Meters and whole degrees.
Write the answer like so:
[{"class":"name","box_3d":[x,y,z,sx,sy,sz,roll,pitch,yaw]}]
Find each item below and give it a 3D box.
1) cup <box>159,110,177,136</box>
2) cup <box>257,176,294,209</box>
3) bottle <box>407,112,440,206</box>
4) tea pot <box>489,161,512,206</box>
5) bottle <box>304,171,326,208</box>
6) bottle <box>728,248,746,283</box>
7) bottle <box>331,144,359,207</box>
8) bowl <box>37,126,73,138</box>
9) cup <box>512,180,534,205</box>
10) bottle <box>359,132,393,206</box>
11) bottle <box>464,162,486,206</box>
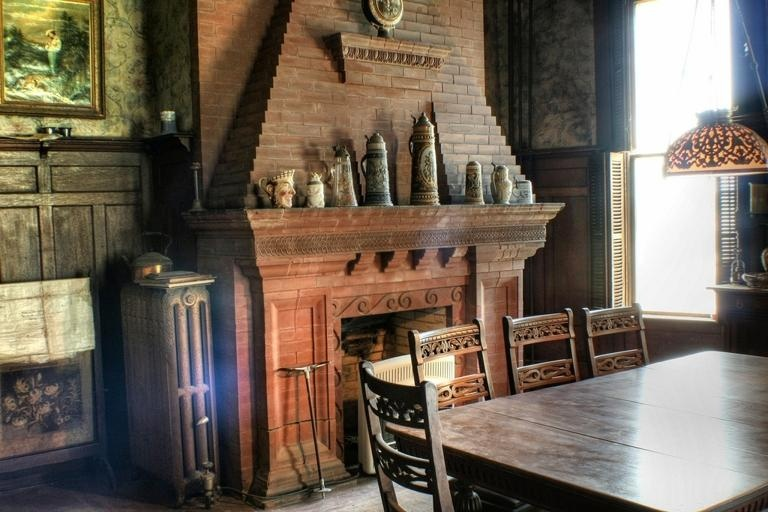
[{"class":"cup","box_3d":[-1.683,-1.058,4.657,0.122,0.197,0.388,-5,12,-19]},{"class":"cup","box_3d":[-0.760,-0.466,4.414,0.266,0.248,0.225,-4,3,14]},{"class":"bottle","box_3d":[0.322,-0.791,4.829,0.216,0.719,0.363,-1,12,0]},{"class":"tea pot","box_3d":[1.017,-0.629,5.157,0.173,0.344,0.313,-1,12,2]},{"class":"bottle","box_3d":[-0.526,-0.508,4.490,0.132,0.244,0.259,-3,12,-8]},{"class":"bottle","box_3d":[3.239,0.095,5.453,0.126,0.298,0.201,6,14,30]},{"class":"bottle","box_3d":[-0.316,-0.622,4.562,0.179,0.452,0.435,-6,13,-21]},{"class":"bowl","box_3d":[-2.545,-0.968,4.615,0.256,0.084,0.179,-7,13,-28]},{"class":"cup","box_3d":[1.245,-0.580,5.327,0.176,0.199,0.146,1,12,9]},{"class":"bottle","box_3d":[-0.071,-0.700,4.715,0.228,0.567,0.400,-2,12,-4]},{"class":"bottle","box_3d":[0.760,-0.623,5.028,0.150,0.357,0.265,0,12,7]}]
